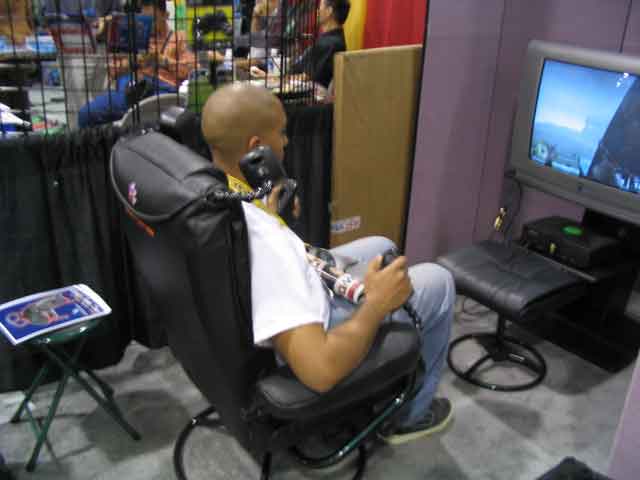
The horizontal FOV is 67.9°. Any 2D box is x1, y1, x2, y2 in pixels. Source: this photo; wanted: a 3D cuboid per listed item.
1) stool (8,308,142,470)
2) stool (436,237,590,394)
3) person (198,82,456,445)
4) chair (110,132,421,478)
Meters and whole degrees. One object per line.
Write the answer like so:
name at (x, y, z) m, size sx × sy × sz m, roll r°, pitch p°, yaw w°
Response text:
stool at (-1.206, 0.735, 2.298) m, size 0.421 × 0.567 × 0.400 m, roll -14°, pitch 41°, yaw -34°
stool at (1.052, 0.430, 2.734) m, size 0.578 × 0.649 × 0.679 m, roll -9°, pitch 24°, yaw -18°
person at (0.063, 0.156, 1.980) m, size 0.949 × 1.654 × 0.799 m, roll -18°, pitch 28°, yaw -23°
chair at (-0.264, 0.307, 1.813) m, size 0.842 × 1.272 × 0.913 m, roll -28°, pitch 45°, yaw -29°
